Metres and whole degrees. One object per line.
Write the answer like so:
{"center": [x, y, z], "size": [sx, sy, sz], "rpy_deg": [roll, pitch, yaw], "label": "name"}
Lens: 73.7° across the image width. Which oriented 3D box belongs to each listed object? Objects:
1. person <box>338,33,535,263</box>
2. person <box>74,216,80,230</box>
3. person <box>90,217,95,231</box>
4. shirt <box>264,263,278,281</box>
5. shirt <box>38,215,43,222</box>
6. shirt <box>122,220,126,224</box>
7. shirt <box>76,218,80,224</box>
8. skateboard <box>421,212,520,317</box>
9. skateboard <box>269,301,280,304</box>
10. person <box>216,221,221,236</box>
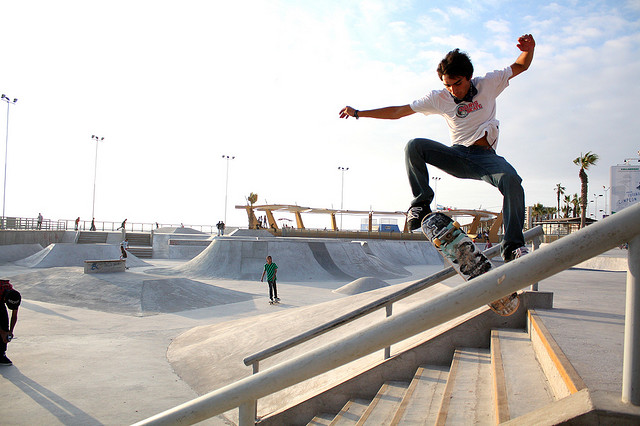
{"center": [1.020, -0.527, 3.282], "size": [1.090, 1.778, 0.420], "rpy_deg": [3, 1, 18], "label": "person"}
{"center": [-14.500, 0.592, 25.441], "size": [0.332, 0.949, 0.857], "rpy_deg": [-1, 5, -39], "label": "person"}
{"center": [-18.081, 0.923, 33.978], "size": [0.771, 0.741, 0.300], "rpy_deg": [3, 1, 40], "label": "person"}
{"center": [-1.486, 1.681, 12.583], "size": [0.302, 0.445, 0.473], "rpy_deg": [3, 0, -5], "label": "shirt"}
{"center": [-17.191, 0.263, 26.179], "size": [0.449, 0.428, 0.233], "rpy_deg": [2, -1, -33], "label": "shirt"}
{"center": [-12.229, 0.498, 26.554], "size": [0.204, 0.280, 0.099], "rpy_deg": [-8, -21, 24], "label": "shirt"}
{"center": [-15.447, 0.436, 27.152], "size": [0.117, 0.376, 0.341], "rpy_deg": [1, 5, -44], "label": "shirt"}
{"center": [0.999, 0.265, 3.023], "size": [0.215, 0.756, 0.107], "rpy_deg": [-37, -43, 5], "label": "skateboard"}
{"center": [-1.325, 2.521, 12.325], "size": [0.319, 0.042, 0.149], "rpy_deg": [3, 0, -30], "label": "skateboard"}
{"center": [-8.635, 1.180, 36.281], "size": [0.277, 0.953, 1.713], "rpy_deg": [3, 0, -13], "label": "person"}
